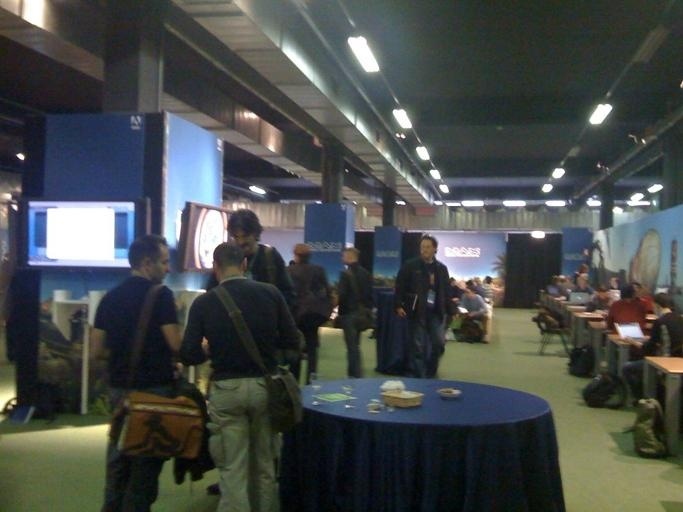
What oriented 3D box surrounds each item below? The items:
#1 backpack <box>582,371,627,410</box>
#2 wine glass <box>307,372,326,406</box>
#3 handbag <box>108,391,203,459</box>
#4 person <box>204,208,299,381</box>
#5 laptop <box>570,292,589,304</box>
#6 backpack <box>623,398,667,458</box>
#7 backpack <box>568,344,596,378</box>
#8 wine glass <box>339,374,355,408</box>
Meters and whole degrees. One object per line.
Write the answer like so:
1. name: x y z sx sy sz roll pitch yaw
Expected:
1. backpack: 3.174 1.616 6.517 0.474 0.203 0.366 -1 11 1
2. wine glass: -0.187 0.895 3.740 0.113 0.250 0.108 -7 -11 42
3. handbag: -1.084 0.986 3.115 0.511 0.345 0.375 20 -27 -40
4. person: -0.684 0.523 4.382 0.701 1.779 0.475 -10 9 -14
5. laptop: 5.488 0.964 12.439 0.374 0.255 0.266 1 5 11
6. backpack: 2.903 1.659 5.148 0.445 0.456 0.262 5 -10 -32
7. backpack: 3.709 1.578 8.340 0.403 0.586 0.470 0 -3 25
8. wine glass: 0.046 0.919 3.576 0.084 0.186 0.089 -2 3 -21
